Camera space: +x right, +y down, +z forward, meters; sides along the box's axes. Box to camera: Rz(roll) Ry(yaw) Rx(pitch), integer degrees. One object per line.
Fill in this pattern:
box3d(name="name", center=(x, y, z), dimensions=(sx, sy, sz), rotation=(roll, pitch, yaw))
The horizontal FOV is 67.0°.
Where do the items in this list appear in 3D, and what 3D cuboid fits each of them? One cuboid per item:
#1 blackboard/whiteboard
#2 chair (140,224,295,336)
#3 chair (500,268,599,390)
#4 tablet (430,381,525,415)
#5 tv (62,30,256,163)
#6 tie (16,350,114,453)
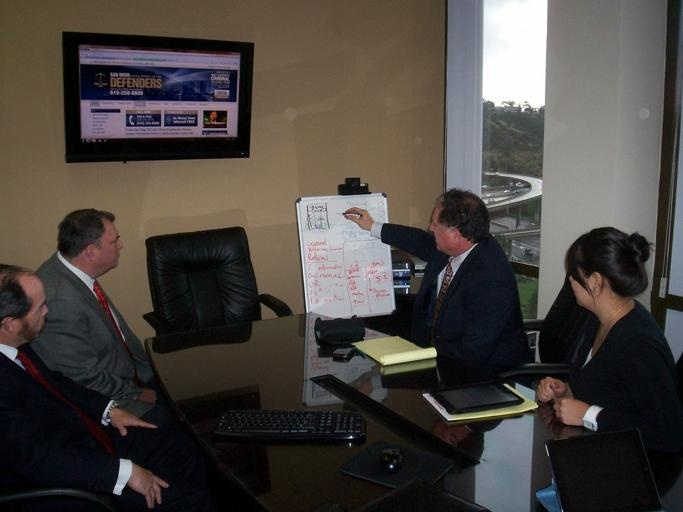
box3d(name="blackboard/whiteboard", center=(0.031, 0.005, 3.508), dimensions=(0.781, 1.029, 0.070), rotation=(-6, 1, -16))
box3d(name="chair", center=(-0.893, 0.122, 3.827), dimensions=(0.734, 1.050, 0.802), rotation=(-11, 8, -25))
box3d(name="chair", center=(1.077, 0.537, 2.825), dimensions=(0.411, 0.661, 0.423), rotation=(-2, 30, -8))
box3d(name="tablet", center=(0.518, 0.563, 2.038), dimensions=(0.192, 0.021, 0.139), rotation=(-4, 13, -12))
box3d(name="tv", center=(-1.333, -1.126, 3.613), dimensions=(0.985, 0.659, 0.043), rotation=(-9, 23, -28))
box3d(name="tie", center=(-1.224, 0.645, 2.252), dimensions=(0.093, 0.547, 0.064), rotation=(-41, 5, 8))
